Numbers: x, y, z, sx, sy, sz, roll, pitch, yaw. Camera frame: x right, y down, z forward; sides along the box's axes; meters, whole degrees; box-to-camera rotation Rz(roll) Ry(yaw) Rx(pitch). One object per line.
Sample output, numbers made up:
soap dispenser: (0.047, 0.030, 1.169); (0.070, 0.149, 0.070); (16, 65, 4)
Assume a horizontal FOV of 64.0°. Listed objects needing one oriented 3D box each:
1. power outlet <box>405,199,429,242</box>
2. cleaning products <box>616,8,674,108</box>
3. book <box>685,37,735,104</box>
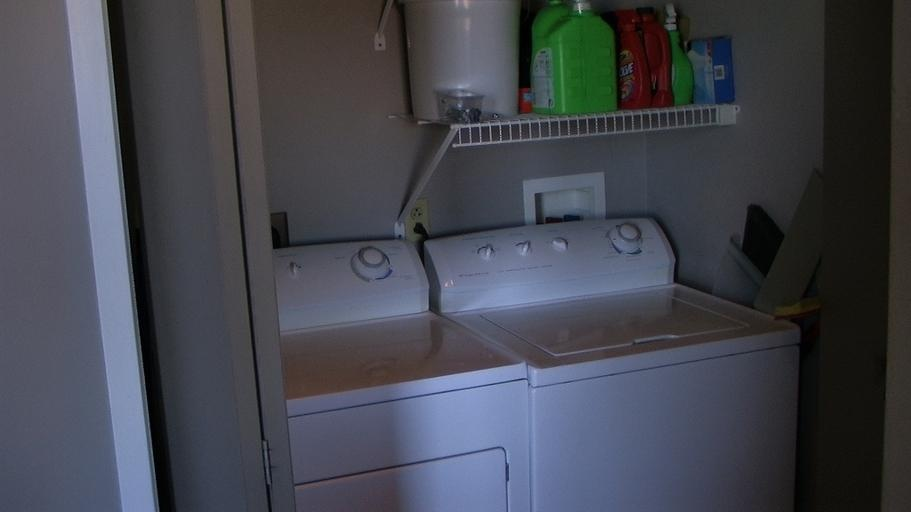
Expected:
power outlet: (-0.154, -0.143, 2.877); (0.115, 0.173, 0.017); (-8, 14, -24)
cleaning products: (0.685, -0.722, 2.646); (0.203, 0.355, 0.132); (-1, 13, 6)
book: (0.935, -0.692, 2.706); (0.075, 0.235, 0.205); (-11, 15, -33)
